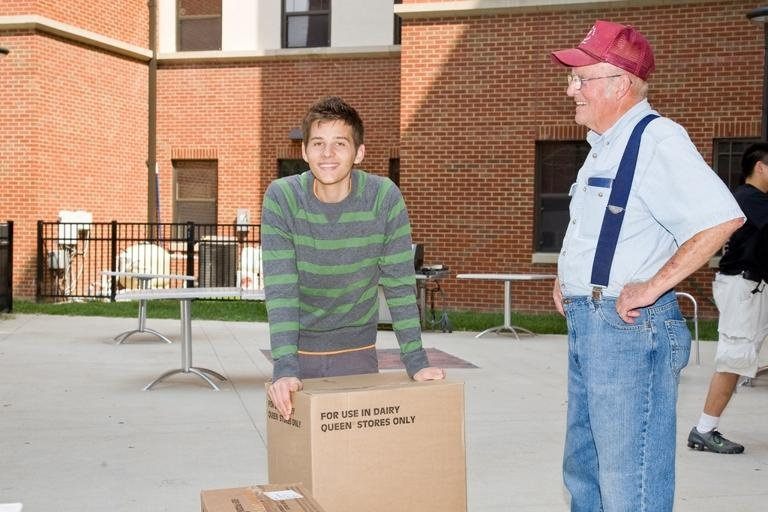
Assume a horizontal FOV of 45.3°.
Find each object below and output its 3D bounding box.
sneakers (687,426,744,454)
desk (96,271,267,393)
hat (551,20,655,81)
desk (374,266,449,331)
[{"bbox_3d":[3.185,1.772,8.863,0.468,0.208,0.218,0,-4,10],"label":"sneakers"},{"bbox_3d":[-2.682,0.812,11.967,1.560,1.222,3.662,-1,6,-17],"label":"desk"},{"bbox_3d":[1.562,-1.447,6.571,0.633,0.307,0.391,16,14,-1],"label":"hat"},{"bbox_3d":[0.602,0.739,16.002,1.147,1.025,1.120,-2,-5,13],"label":"desk"}]
